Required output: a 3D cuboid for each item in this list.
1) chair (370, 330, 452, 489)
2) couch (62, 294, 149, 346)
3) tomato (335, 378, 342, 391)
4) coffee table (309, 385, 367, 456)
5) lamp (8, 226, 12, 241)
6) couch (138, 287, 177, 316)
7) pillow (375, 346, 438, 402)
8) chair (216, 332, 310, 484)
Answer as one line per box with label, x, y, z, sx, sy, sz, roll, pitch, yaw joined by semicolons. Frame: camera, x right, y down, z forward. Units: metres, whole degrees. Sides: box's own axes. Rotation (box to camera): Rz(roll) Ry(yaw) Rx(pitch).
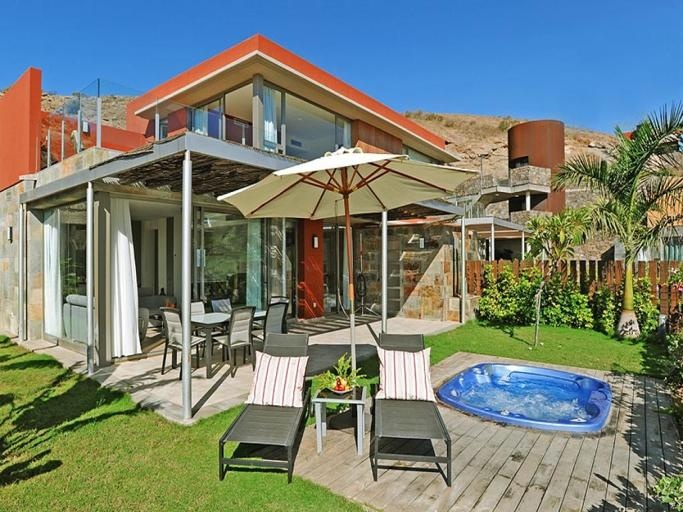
chair;1.138;2.502;9.724;1.335;2.247;1.462;-1;-2;4
couch;-5.932;1.427;14.006;1.966;1.405;1.124;3;3;40
tomato;-0.050;2.194;9.820;0.100;0.178;0.074;-2;-17;-3
coffee table;-0.043;2.796;9.909;0.950;0.967;0.988;-1;-7;5
lamp;-8.894;-0.634;15.456;0.110;0.403;0.331;0;-2;-37
couch;-5.717;1.301;17.496;0.977;0.914;1.339;-1;-1;37
pillow;1.114;2.083;10.114;1.004;1.065;0.285;1;-7;7
chair;-1.292;2.463;9.698;1.472;2.174;1.375;-1;-2;-2
